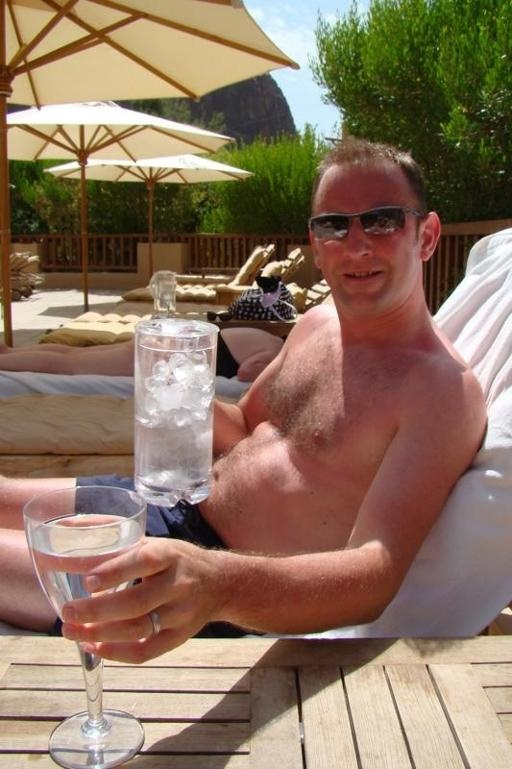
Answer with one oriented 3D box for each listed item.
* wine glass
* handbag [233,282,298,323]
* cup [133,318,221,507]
[{"bbox_3d":[-0.189,0.282,0.770,0.125,0.316,0.135,3,15,19],"label":"wine glass"},{"bbox_3d":[0.105,-0.657,5.441,0.546,0.274,0.281,2,12,4],"label":"handbag"},{"bbox_3d":[-0.147,0.052,1.230,0.163,0.329,0.227,-2,13,-1],"label":"cup"}]
